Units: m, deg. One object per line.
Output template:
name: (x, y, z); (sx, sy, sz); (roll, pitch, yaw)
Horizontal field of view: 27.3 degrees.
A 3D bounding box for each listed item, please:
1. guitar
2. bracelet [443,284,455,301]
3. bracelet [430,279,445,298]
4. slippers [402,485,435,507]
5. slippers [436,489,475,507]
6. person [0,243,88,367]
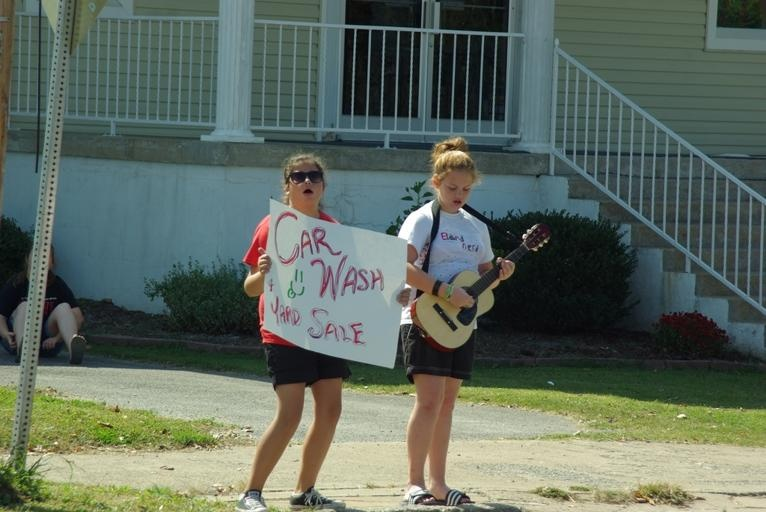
guitar: (1.059, 0.335, 18.117); (2.302, 0.881, 0.312); (-44, 8, -23)
bracelet: (0.739, 0.393, 17.816); (0.113, 0.163, 0.098); (-2, 0, -33)
bracelet: (0.615, 0.355, 17.783); (0.129, 0.177, 0.047); (3, 3, -8)
slippers: (0.416, 2.684, 17.696); (0.173, 0.152, 0.318); (2, -6, -25)
slippers: (0.822, 2.691, 17.708); (0.293, 0.151, 0.165); (-2, 2, 13)
person: (-4.585, 0.790, 21.602); (0.953, 1.484, 1.717); (2, -6, -20)
